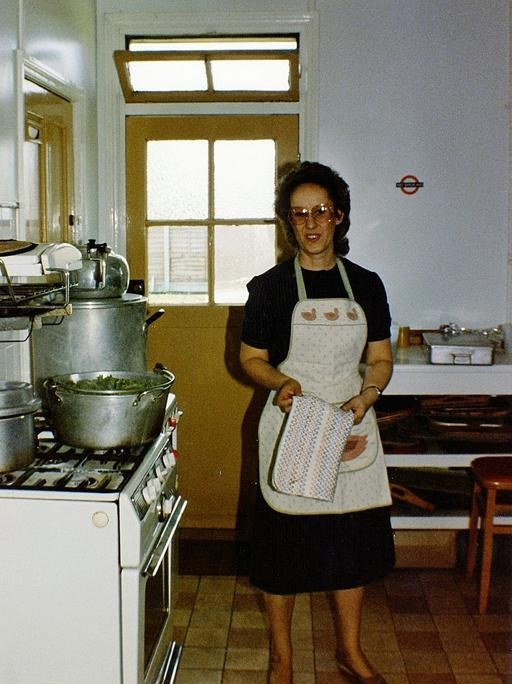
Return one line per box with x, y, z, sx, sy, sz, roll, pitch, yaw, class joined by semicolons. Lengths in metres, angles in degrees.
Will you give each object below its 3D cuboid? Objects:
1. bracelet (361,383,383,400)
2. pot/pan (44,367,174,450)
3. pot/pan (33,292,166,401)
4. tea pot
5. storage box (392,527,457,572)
0.309;0.130;1.733;0.052;0.019;0.049;-1;-20;5;bracelet
-0.363;0.143;1.521;0.342;0.149;0.331;4;8;1;pot/pan
-0.432;-0.002;1.844;0.362;0.295;0.273;5;17;-8;pot/pan
-0.433;-0.203;1.803;0.089;0.159;0.204;3;10;25;tea pot
0.677;0.821;2.576;0.298;0.183;0.154;0;5;3;storage box
